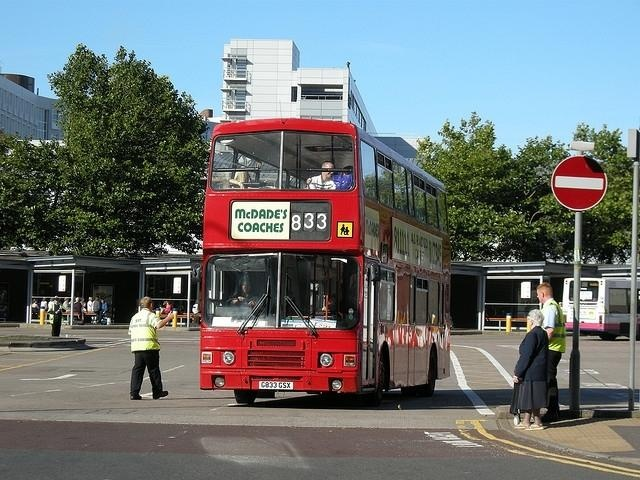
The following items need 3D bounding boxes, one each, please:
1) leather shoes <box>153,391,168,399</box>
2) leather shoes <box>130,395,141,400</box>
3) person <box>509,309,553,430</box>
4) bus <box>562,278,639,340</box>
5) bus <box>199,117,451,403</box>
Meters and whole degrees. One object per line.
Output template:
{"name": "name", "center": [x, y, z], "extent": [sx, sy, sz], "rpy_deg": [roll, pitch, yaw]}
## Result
{"name": "leather shoes", "center": [-3.211, 3.145, 17.311], "extent": [0.287, 0.157, 0.466], "rpy_deg": [2, -7, -11]}
{"name": "leather shoes", "center": [-3.646, 3.140, 17.085], "extent": [0.234, 0.102, 0.265], "rpy_deg": [3, -8, -22]}
{"name": "person", "center": [3.300, 2.027, 13.381], "extent": [0.605, 1.837, 0.777], "rpy_deg": [-1, -7, 13]}
{"name": "bus", "center": [15.594, 3.736, 47.022], "extent": [4.222, 3.464, 2.798], "rpy_deg": [1, -7, -9]}
{"name": "bus", "center": [1.215, 0.710, 18.755], "extent": [3.960, 5.506, 9.262], "rpy_deg": [-5, -9, 39]}
